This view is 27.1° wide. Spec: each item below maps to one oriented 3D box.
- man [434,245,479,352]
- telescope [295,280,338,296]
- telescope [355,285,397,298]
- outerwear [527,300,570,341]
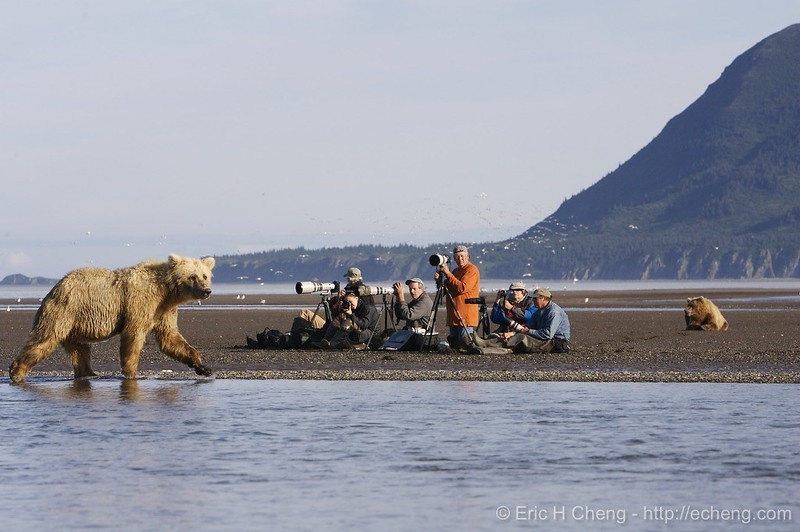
[{"bbox_3d":[1.687,1.256,50.775,1.368,3.688,1.381,-3,15,-22],"label":"man"},{"bbox_3d":[-2.570,0.686,50.887,0.464,0.519,2.152,2,2,34],"label":"telescope"},{"bbox_3d":[-0.555,0.752,51.375,1.629,0.467,0.369,-2,53,-51],"label":"telescope"},{"bbox_3d":[4.679,1.682,51.133,1.350,0.948,1.282,0,0,-27],"label":"outerwear"}]
